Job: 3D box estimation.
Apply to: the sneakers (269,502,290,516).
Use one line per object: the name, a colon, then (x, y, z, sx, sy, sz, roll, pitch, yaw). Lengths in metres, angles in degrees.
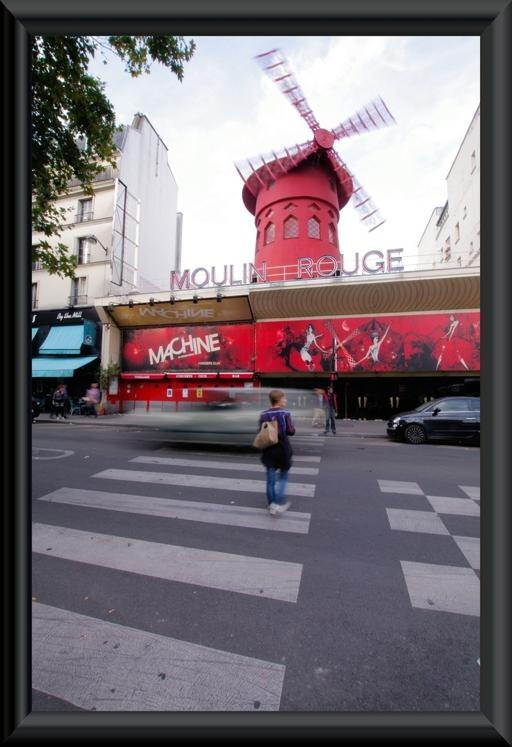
sneakers: (0.227, 1.389, 5.588, 0.084, 0.116, 0.266, -1, -1, 24)

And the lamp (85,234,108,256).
lamp: (-7.056, -5.777, 23.870, 0.443, 0.649, 1.324, 20, -8, 21)

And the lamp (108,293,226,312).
lamp: (-3.958, -2.883, 23.472, 3.900, 0.939, 0.440, -1, 13, 15)

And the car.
car: (4.155, 1.103, 12.477, 2.166, 1.153, 1.277, 2, -8, 13)

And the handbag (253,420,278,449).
handbag: (0.092, 0.622, 5.548, 0.249, 0.280, 0.167, 1, 1, 0)
